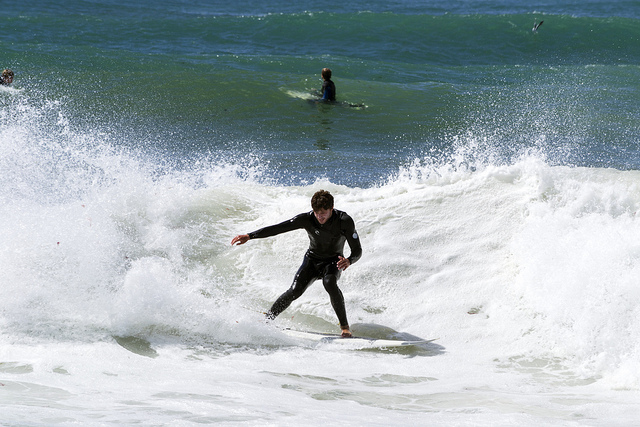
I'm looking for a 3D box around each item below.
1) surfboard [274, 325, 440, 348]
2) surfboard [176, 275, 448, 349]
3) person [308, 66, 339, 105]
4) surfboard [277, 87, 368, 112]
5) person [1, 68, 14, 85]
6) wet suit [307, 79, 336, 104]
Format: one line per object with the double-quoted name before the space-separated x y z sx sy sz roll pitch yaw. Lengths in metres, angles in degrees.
"surfboard" 0.928 2.766 22.835 2.935 0.272 0.205 3 48 14
"surfboard" -0.631 2.419 22.962 5.527 0.773 1.219 12 29 15
"person" 0.197 -4.126 32.157 0.973 1.346 1.375 6 30 -1
"surfboard" 0.004 -3.566 32.521 3.661 0.433 0.903 13 8 28
"person" -9.658 -4.297 32.075 0.371 0.635 1.011 -4 30 -16
"wet suit" 0.114 -3.887 32.187 0.885 0.909 0.603 24 36 27
